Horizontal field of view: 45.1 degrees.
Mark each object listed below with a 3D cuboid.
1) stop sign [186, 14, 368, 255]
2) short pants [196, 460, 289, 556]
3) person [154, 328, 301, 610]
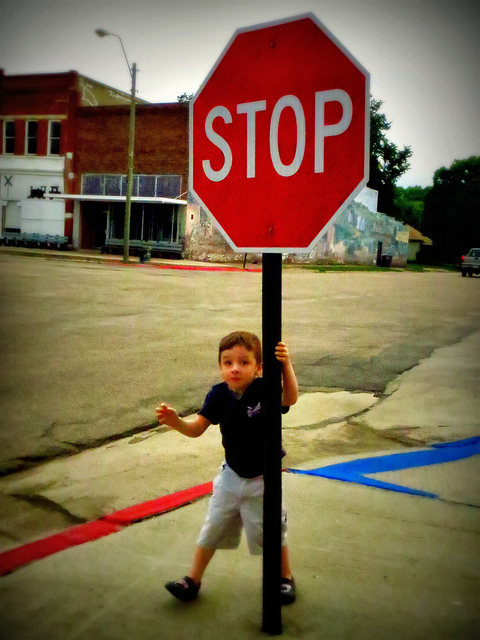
[{"bbox_3d":[0.086,-0.543,1.739,0.688,0.678,0.123,6,7,41],"label":"stop sign"},{"bbox_3d":[0.015,0.706,2.275,0.331,0.407,0.192,7,16,7],"label":"short pants"},{"bbox_3d":[0.003,0.520,2.562,0.557,1.095,1.468,1,6,6],"label":"person"}]
